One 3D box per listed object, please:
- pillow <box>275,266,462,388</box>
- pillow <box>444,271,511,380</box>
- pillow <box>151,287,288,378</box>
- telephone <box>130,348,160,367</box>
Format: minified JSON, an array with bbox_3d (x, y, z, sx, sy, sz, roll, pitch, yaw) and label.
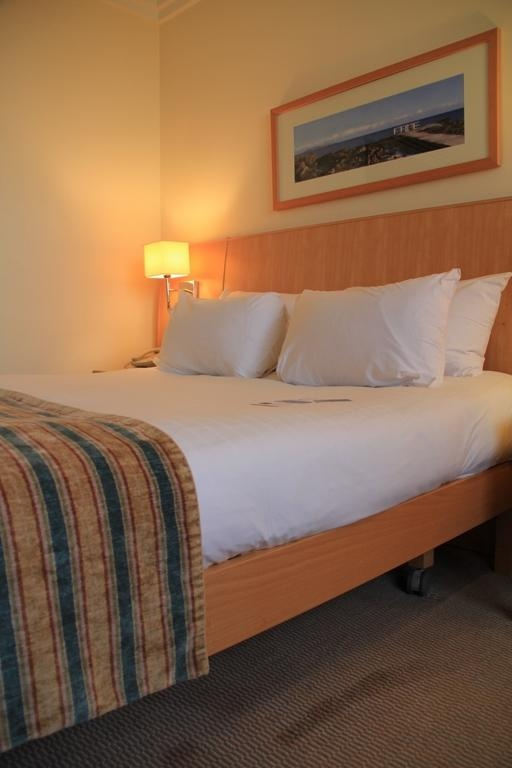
[{"bbox_3d":[0.386,-0.174,2.005,0.486,0.313,0.190,-2,-11,40],"label":"pillow"},{"bbox_3d":[0.780,-0.198,2.145,0.315,0.328,0.098,10,-1,27],"label":"pillow"},{"bbox_3d":[-0.130,-0.205,2.479,0.533,0.335,0.212,1,-1,39],"label":"pillow"},{"bbox_3d":[-0.619,-0.144,3.341,0.123,0.043,0.120,-13,14,-10],"label":"telephone"}]
